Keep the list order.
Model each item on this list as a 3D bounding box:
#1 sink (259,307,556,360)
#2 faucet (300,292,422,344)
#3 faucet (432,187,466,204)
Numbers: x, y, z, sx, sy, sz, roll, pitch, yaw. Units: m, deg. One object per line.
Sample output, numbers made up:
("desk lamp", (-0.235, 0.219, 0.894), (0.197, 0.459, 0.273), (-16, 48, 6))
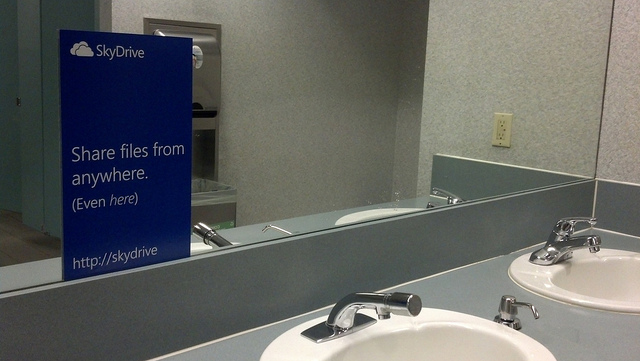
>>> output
("sink", (0.278, 0.474, 1.419), (0.403, 0.082, 0.335), (-1, 6, -3))
("faucet", (0.128, 0.379, 1.308), (0.248, 0.127, 0.339), (-4, -2, -45))
("faucet", (0.499, 0.057, 1.718), (0.166, 0.059, 0.046), (4, -3, -28))
